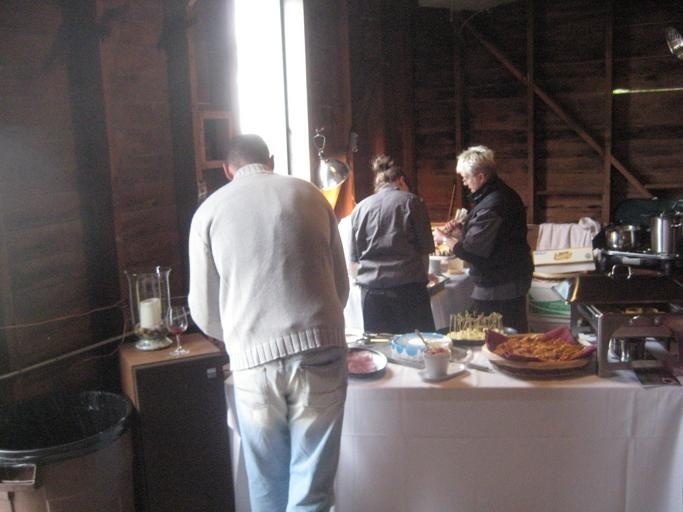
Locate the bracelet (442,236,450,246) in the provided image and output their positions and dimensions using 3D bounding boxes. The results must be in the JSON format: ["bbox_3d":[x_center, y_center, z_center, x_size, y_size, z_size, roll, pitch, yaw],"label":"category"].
[{"bbox_3d":[0.690,-0.097,4.080,0.034,0.045,0.050,-16,-16,-3],"label":"bracelet"}]

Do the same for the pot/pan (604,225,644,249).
[{"bbox_3d":[1.414,-0.105,3.063,0.132,0.080,0.134,-4,4,12],"label":"pot/pan"}]

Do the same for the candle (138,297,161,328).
[{"bbox_3d":[-0.842,0.254,2.765,0.119,0.132,0.116,0,4,-14],"label":"candle"}]

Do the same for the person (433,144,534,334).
[{"bbox_3d":[0.902,-0.100,3.697,0.464,1.137,0.357,-2,2,17],"label":"person"}]

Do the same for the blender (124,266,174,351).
[{"bbox_3d":[-0.826,0.257,2.780,0.189,0.293,0.192,-12,-7,-40],"label":"blender"}]

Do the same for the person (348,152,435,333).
[{"bbox_3d":[0.295,0.139,3.822,0.489,1.414,0.447,3,23,9],"label":"person"}]

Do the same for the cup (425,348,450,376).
[{"bbox_3d":[0.392,0.441,2.555,0.106,0.080,0.094,-2,4,-9],"label":"cup"}]
